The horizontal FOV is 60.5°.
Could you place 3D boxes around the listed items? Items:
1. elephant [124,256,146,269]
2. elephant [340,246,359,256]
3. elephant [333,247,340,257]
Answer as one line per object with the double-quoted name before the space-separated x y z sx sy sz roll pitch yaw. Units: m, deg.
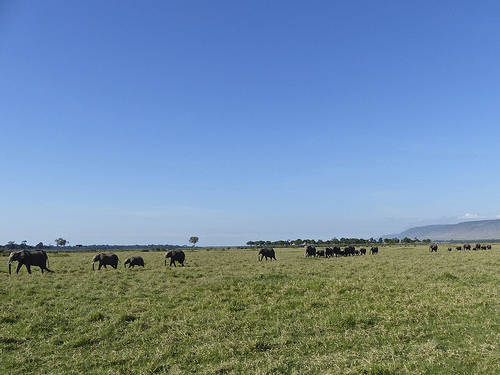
"elephant" -14.176 9.091 52.739 2.554 1.551 1.254 4 -14 -8
"elephant" 17.676 11.298 75.686 2.186 1.626 5.633 0 -3 23
"elephant" 15.503 11.369 75.474 0.745 1.343 2.627 -5 -26 17
